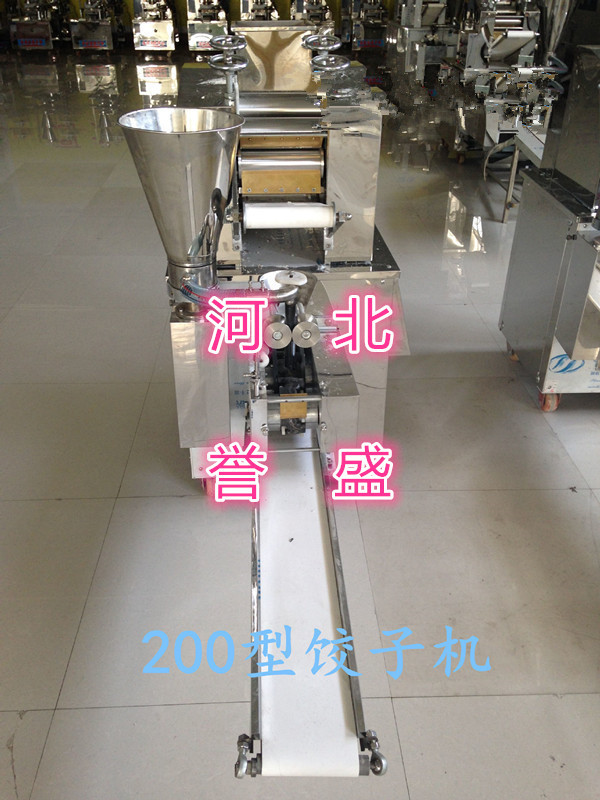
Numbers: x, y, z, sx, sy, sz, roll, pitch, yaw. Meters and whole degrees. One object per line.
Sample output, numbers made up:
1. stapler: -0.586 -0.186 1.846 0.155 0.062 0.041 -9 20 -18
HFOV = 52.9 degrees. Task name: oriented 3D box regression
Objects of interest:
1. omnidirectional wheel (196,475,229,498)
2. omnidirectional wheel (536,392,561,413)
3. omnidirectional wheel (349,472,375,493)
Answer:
1. omnidirectional wheel: -0.334 0.331 2.288 0.077 0.062 0.081 0 15 0
2. omnidirectional wheel: 1.164 0.014 2.818 0.069 0.056 0.102 -3 53 0
3. omnidirectional wheel: 0.244 0.321 2.338 0.076 0.081 0.076 1 71 -3
